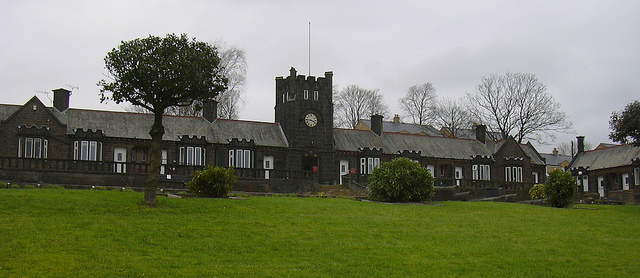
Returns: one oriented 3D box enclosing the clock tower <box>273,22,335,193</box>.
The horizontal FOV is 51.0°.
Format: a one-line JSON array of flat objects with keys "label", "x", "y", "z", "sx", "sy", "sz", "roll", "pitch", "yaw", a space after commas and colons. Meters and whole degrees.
[{"label": "clock tower", "x": -2.014, "y": -1.902, "z": 101.630, "sx": 8.262, "sy": 17.040, "sz": 3.449, "roll": -1, "pitch": -10, "yaw": -1}]
